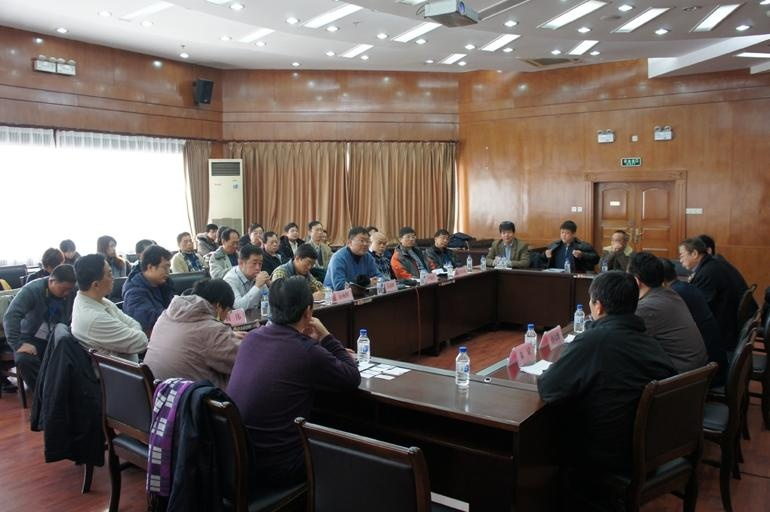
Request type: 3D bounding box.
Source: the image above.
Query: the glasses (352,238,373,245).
[{"bbox_3d":[-0.280,-0.180,6.044,0.199,0.093,0.102,-4,6,-11],"label":"glasses"}]

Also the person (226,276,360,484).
[{"bbox_3d":[-0.638,0.843,3.440,0.668,1.410,0.819,23,25,23],"label":"person"}]

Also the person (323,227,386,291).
[{"bbox_3d":[-0.413,-0.018,6.282,0.689,0.929,0.704,3,4,38],"label":"person"}]

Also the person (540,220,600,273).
[{"bbox_3d":[2.603,-0.138,7.631,0.730,0.719,0.743,-1,6,16],"label":"person"}]

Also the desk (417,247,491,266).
[{"bbox_3d":[0.919,-0.007,8.003,0.508,0.274,0.741,6,9,44],"label":"desk"}]

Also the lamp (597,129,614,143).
[{"bbox_3d":[4.088,-2.253,10.067,0.278,0.259,0.094,2,5,35],"label":"lamp"}]

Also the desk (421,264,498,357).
[{"bbox_3d":[0.903,0.624,7.183,0.858,0.754,1.498,5,10,38],"label":"desk"}]

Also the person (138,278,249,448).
[{"bbox_3d":[-1.296,0.734,3.712,0.606,1.165,0.619,20,18,29],"label":"person"}]

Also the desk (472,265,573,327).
[{"bbox_3d":[1.998,0.556,7.349,1.335,0.874,0.770,1,3,32],"label":"desk"}]
